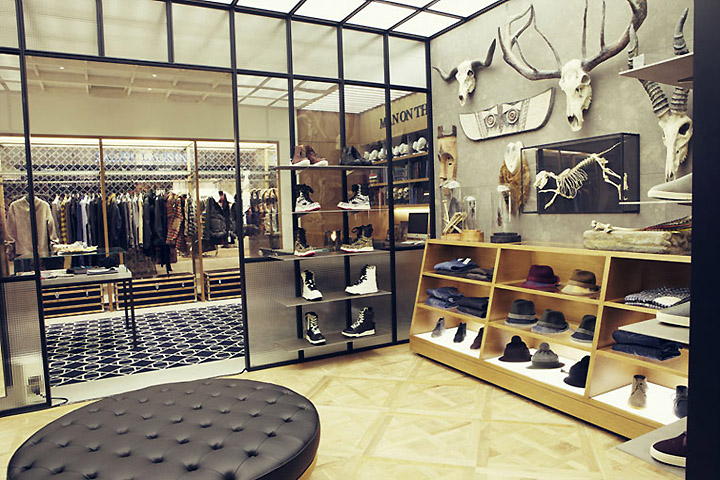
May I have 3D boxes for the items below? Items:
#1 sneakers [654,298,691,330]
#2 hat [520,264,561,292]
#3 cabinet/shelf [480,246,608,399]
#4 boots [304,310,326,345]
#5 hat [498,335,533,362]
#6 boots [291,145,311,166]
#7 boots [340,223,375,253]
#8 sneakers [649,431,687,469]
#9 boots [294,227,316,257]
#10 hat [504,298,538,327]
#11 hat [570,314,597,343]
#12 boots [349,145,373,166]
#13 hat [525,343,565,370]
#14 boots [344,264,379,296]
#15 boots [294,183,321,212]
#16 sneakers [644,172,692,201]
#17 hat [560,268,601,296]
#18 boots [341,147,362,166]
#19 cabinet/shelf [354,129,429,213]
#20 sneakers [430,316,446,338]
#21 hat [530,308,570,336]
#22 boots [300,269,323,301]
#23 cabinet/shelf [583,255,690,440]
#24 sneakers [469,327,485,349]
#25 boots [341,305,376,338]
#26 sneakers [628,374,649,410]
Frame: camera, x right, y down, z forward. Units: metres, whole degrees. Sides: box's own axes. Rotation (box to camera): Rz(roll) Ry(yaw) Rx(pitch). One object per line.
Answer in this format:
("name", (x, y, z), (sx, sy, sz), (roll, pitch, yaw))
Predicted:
("sneakers", (1.357, 0.323, 2.134), (0.120, 0.131, 0.271), (5, 16, 32))
("hat", (1.649, 0.350, 4.461), (0.322, 0.203, 0.285), (1, 14, 18))
("cabinet/shelf", (1.663, 0.765, 4.397), (0.478, 1.197, 1.323), (2, 3, -35))
("boots", (-0.500, 0.955, 5.348), (0.158, 0.281, 0.434), (-4, 8, -19))
("hat", (1.457, 1.045, 4.591), (0.239, 0.155, 0.255), (3, 8, 29))
("boots", (-0.619, -0.885, 5.215), (0.167, 0.201, 0.236), (6, 16, 35))
("boots", (0.003, 0.013, 5.487), (0.526, 0.355, 0.184), (0, 1, -28))
("sneakers", (1.347, 0.893, 2.109), (0.227, 0.084, 0.114), (3, -1, -33))
("boots", (-0.623, 0.027, 5.295), (0.198, 0.278, 0.215), (-5, 13, -5))
("hat", (1.501, 0.672, 4.569), (0.255, 0.140, 0.232), (-3, 7, 0))
("hat", (1.889, 0.742, 4.130), (0.151, 0.104, 0.250), (2, 13, 44))
("boots", (-0.025, -0.918, 5.494), (0.135, 0.163, 0.393), (1, 3, 34))
("hat", (1.666, 1.039, 4.438), (0.300, 0.188, 0.192), (1, 3, 22))
("boots", (0.013, 0.451, 5.471), (0.352, 0.283, 0.226), (-8, 14, -18))
("boots", (-0.578, -0.457, 5.390), (0.323, 0.304, 0.138), (-12, 16, -30))
("sneakers", (1.569, -0.253, 2.471), (0.181, 0.152, 0.189), (7, 17, 40))
("hat", (1.859, 0.357, 4.147), (0.265, 0.093, 0.200), (-2, 6, -32))
("boots", (-0.100, -0.924, 5.456), (0.246, 0.213, 0.128), (-4, 13, -2))
("cabinet/shelf", (0.348, -0.832, 5.816), (0.275, 0.862, 0.965), (8, 16, 37))
("sneakers", (0.883, 0.958, 5.408), (0.102, 0.171, 0.260), (3, 7, 34))
("hat", (1.684, 0.723, 4.358), (0.298, 0.187, 0.139), (0, 14, 15))
("boots", (-0.542, 0.493, 5.341), (0.138, 0.263, 0.403), (-9, 16, -22))
("cabinet/shelf", (2.147, 0.762, 3.825), (0.683, 1.391, 0.730), (6, 17, 36))
("sneakers", (1.182, 1.008, 4.937), (0.089, 0.120, 0.290), (1, 2, 36))
("boots", (-0.016, 0.908, 5.446), (0.435, 0.303, 0.157), (0, 0, -40))
("sneakers", (2.130, 1.168, 3.748), (0.103, 0.117, 0.292), (0, 2, 28))
